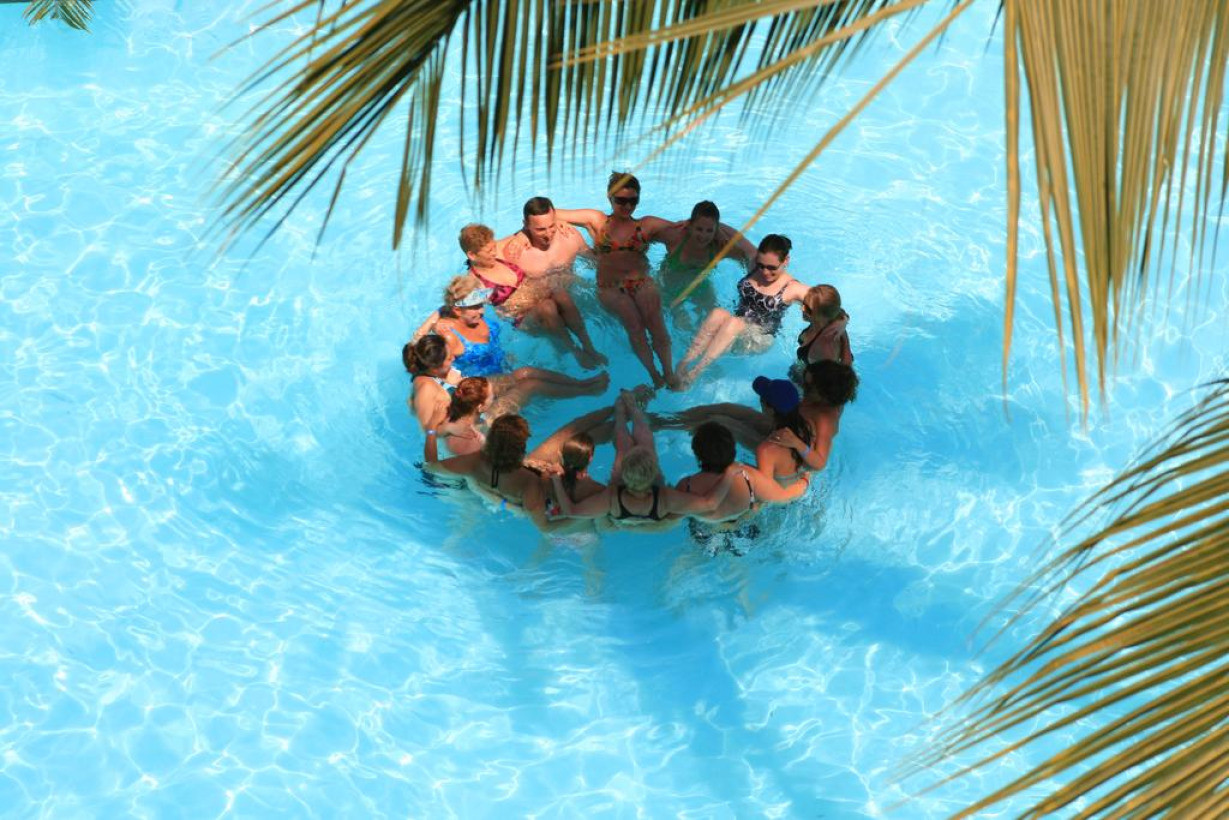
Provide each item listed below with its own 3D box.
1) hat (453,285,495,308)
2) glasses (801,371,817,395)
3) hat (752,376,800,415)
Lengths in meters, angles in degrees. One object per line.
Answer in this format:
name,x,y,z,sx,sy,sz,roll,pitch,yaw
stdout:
hat,-1.181,-0.942,8.941,0.268,0.127,0.180,-9,18,4
glasses,1.539,-0.217,8.350,0.111,0.137,0.141,-1,-11,17
hat,1.277,-0.120,8.350,0.360,0.251,0.189,43,-9,14
